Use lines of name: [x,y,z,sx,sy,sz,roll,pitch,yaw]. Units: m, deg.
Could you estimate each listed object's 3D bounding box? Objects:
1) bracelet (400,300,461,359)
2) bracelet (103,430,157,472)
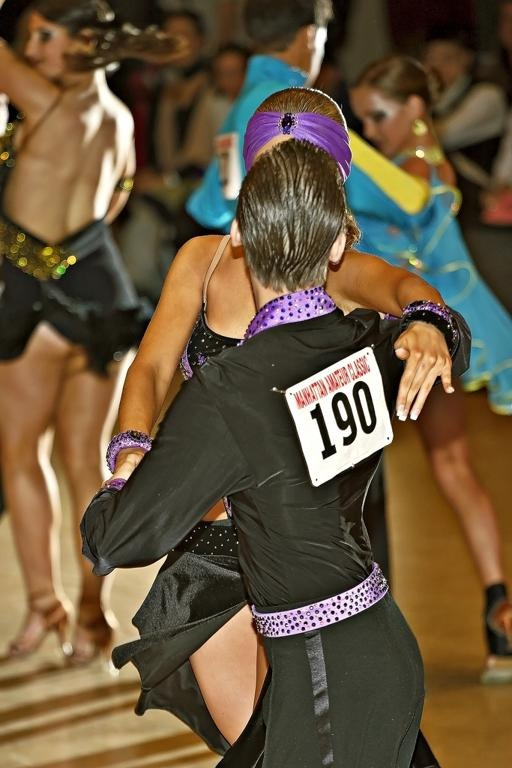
bracelet: [0.221,-0.077,0.911,0.070,0.036,0.078,5,35,-6]
bracelet: [-0.158,0.074,0.878,0.059,0.023,0.061,11,96,-2]
